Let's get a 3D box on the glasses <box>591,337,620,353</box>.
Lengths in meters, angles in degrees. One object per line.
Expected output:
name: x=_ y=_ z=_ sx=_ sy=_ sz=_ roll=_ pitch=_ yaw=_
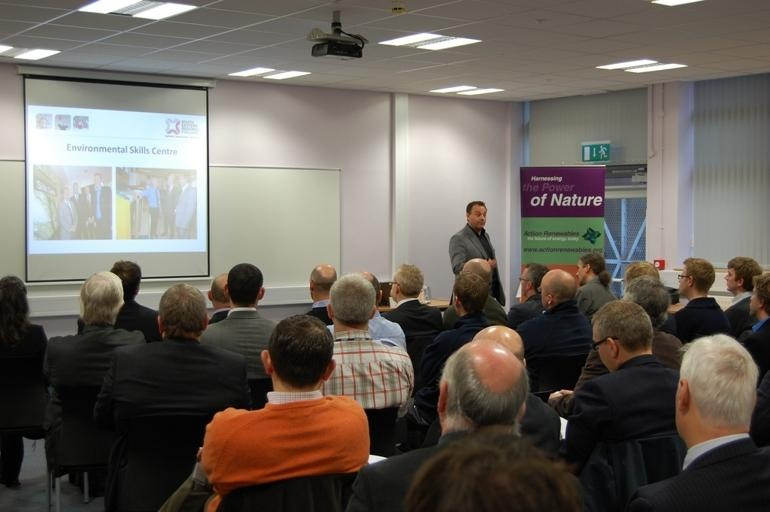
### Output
glasses: x=1.095 y=0.429 z=2.906 sx=0.048 sy=0.084 sz=0.186 roll=-1 pitch=5 yaw=-18

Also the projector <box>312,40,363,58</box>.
projector: x=-0.496 y=-2.105 z=5.924 sx=0.487 sy=0.147 sz=0.209 roll=0 pitch=5 yaw=-4
